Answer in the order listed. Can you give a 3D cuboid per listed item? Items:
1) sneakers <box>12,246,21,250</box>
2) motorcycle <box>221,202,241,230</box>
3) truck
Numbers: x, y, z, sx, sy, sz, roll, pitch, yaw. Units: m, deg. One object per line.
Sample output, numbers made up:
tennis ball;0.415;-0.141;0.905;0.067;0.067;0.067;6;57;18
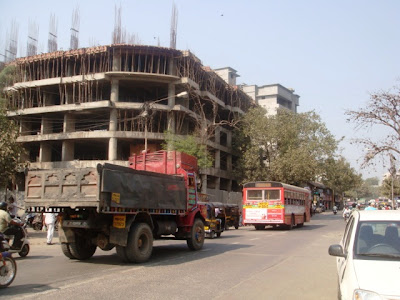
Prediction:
sneakers;-6.660;3.571;16.076;0.211;0.091;0.169;1;-6;11
motorcycle;1.962;5.120;34.001;1.646;1.913;2.898;-1;-8;32
truck;-2.791;2.052;17.616;3.585;4.368;7.238;-6;-9;33
